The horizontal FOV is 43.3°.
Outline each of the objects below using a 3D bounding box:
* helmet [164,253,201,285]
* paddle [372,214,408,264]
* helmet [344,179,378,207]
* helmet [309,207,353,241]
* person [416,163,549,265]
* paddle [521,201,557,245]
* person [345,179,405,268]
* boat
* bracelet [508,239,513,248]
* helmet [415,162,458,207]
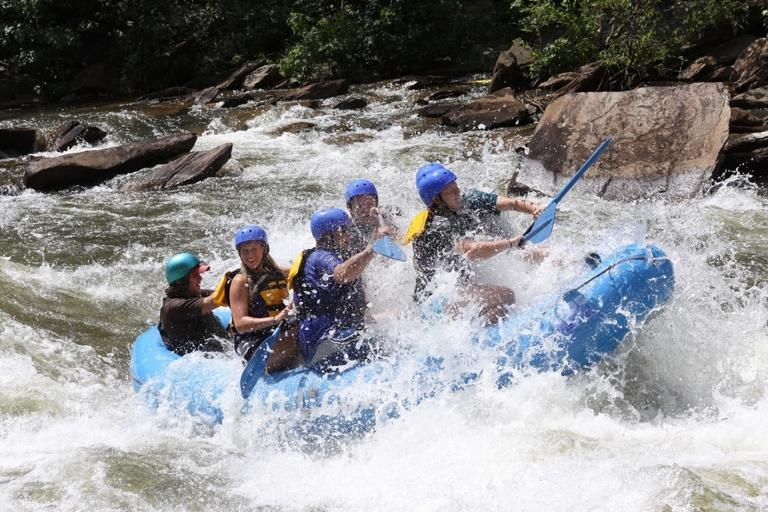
[{"bbox_3d":[-2.782,0.157,13.348,0.453,0.360,0.332,-7,10,-12],"label":"helmet"},{"bbox_3d":[0.073,-0.111,12.198,0.428,0.266,0.298,1,21,9],"label":"paddle"},{"bbox_3d":[-0.328,-0.878,13.140,0.296,0.401,0.359,-2,55,-15],"label":"helmet"},{"bbox_3d":[-0.730,-0.458,12.727,0.599,0.377,0.453,-16,13,-9],"label":"helmet"},{"bbox_3d":[1.196,-0.699,12.807,1.842,0.917,1.135,10,31,26],"label":"person"},{"bbox_3d":[2.035,-0.380,12.508,0.124,0.729,0.267,6,60,-26],"label":"paddle"},{"bbox_3d":[-0.112,-0.381,12.719,0.500,0.491,1.411,-17,54,-21],"label":"person"},{"bbox_3d":[0.348,1.386,12.677,5.816,1.191,2.907,-19,6,10],"label":"boat"},{"bbox_3d":[1.636,-0.146,12.533,0.071,0.022,0.072,-30,57,-10],"label":"bracelet"},{"bbox_3d":[0.628,-1.050,13.053,0.443,0.511,0.597,-44,16,3],"label":"helmet"}]
